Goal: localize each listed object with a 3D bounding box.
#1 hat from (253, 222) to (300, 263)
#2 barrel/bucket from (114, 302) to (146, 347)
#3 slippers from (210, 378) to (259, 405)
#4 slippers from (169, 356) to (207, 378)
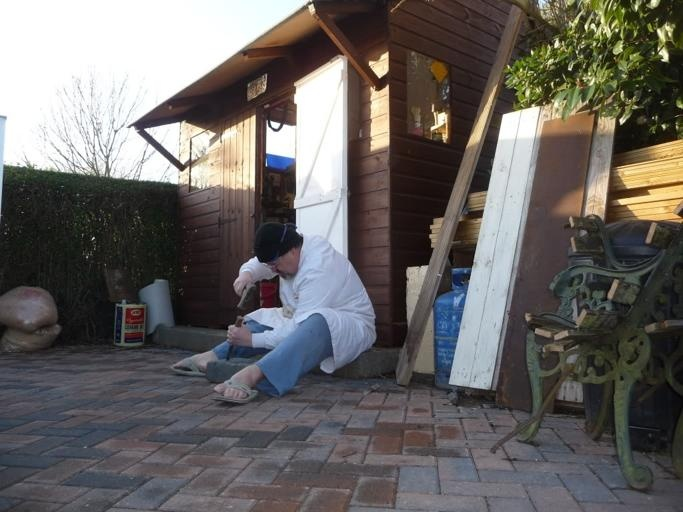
[{"bbox_3d":[-0.542,-0.109,3.824,0.348,0.309,0.307,3,5,-18],"label":"hat"},{"bbox_3d":[-3.163,1.007,6.973,0.423,0.631,0.439,0,0,0],"label":"barrel/bucket"},{"bbox_3d":[-0.742,0.943,3.302,0.295,0.169,0.222,0,0,-12],"label":"slippers"},{"bbox_3d":[-1.354,1.004,4.233,0.382,0.174,0.158,5,-4,-2],"label":"slippers"}]
